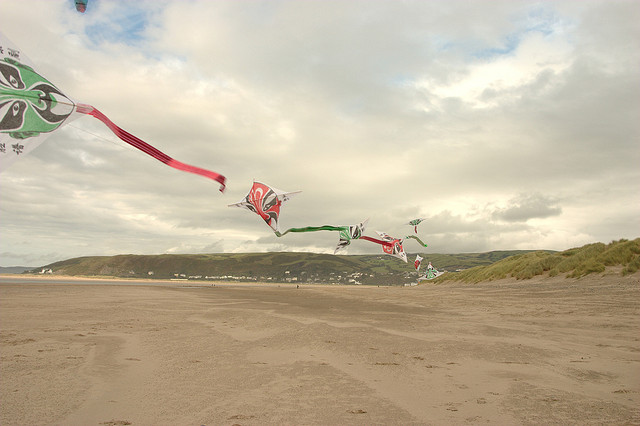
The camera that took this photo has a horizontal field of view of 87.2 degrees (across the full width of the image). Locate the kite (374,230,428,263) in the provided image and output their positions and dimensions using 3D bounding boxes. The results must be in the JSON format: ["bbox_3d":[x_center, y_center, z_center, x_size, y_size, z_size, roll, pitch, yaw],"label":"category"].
[{"bbox_3d":[5.885,2.531,26.036,4.049,1.205,3.128,6,-24,13],"label":"kite"}]

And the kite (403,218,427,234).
[{"bbox_3d":[4.976,0.554,17.372,1.335,0.416,1.095,-8,0,-7],"label":"kite"}]
